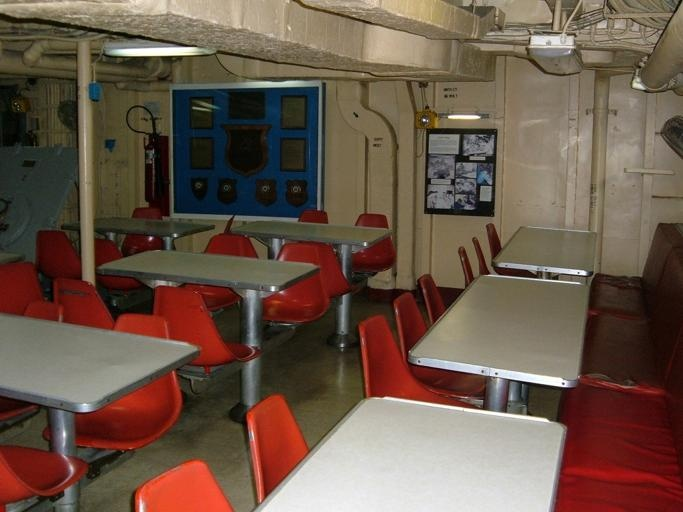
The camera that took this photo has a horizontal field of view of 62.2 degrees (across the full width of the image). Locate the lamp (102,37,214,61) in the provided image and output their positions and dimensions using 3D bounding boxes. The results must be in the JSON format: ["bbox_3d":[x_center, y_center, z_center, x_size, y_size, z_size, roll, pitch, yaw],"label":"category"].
[{"bbox_3d":[-1.569,-1.752,4.784,0.983,0.127,0.554,3,11,0],"label":"lamp"}]
